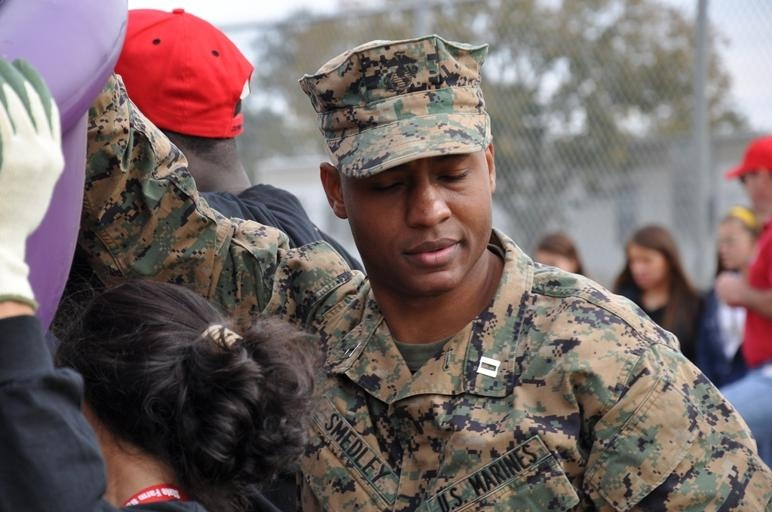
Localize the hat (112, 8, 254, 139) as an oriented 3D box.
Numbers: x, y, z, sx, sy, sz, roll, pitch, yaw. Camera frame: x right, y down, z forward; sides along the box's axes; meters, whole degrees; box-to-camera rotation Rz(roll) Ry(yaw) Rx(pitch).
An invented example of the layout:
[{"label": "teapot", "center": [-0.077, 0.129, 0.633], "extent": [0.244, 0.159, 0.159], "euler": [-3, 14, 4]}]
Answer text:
[{"label": "hat", "center": [-0.802, -0.728, 4.863], "extent": [0.464, 0.646, 0.273], "euler": [6, -47, -42]}]
